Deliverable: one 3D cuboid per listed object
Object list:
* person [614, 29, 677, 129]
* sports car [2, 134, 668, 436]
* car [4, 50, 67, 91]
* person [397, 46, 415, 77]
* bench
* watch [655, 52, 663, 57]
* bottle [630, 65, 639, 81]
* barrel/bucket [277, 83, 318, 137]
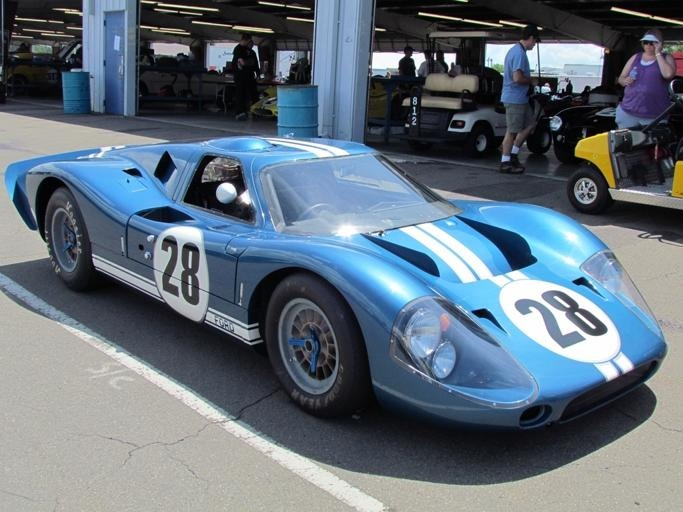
[{"bbox_3d":[4.400,-2.510,7.374,0.680,1.339,0.394,13,17,32],"label":"person"},{"bbox_3d":[-0.488,-0.176,4.038,5.254,1.465,1.950,13,16,35],"label":"sports car"},{"bbox_3d":[-14.858,-8.936,24.781,2.054,1.447,2.950,-7,22,-26],"label":"car"},{"bbox_3d":[2.136,-6.252,16.586,0.503,1.007,1.319,5,14,5],"label":"person"},{"bbox_3d":[2.394,-3.578,12.018,1.218,0.892,1.645,20,26,39],"label":"bench"},{"bbox_3d":[4.467,-2.797,7.190,0.078,0.026,0.075,-1,7,-36],"label":"watch"},{"bbox_3d":[4.219,-2.608,7.391,0.050,0.145,0.106,9,3,2],"label":"bottle"},{"bbox_3d":[-0.953,-3.118,11.079,0.864,1.060,0.559,1,15,-9],"label":"barrel/bucket"}]
